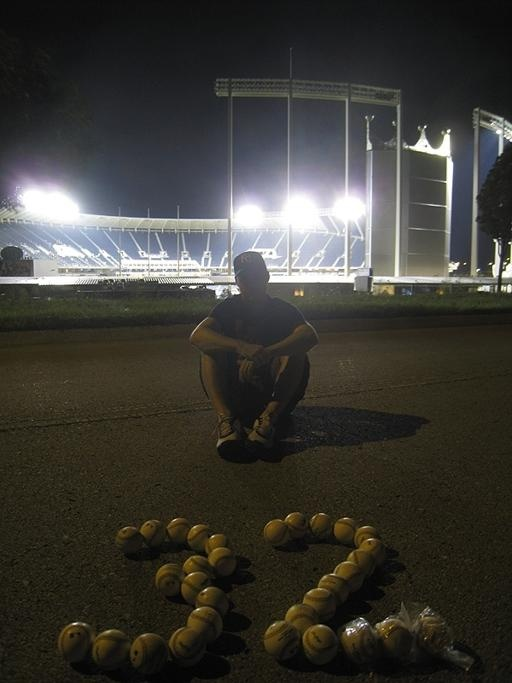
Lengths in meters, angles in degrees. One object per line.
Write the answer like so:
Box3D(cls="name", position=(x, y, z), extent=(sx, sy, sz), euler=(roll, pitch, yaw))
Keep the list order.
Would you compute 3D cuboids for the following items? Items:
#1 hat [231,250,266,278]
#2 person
Box3D(cls="hat", position=(-0.050, -0.551, 3.902), extent=(0.240, 0.182, 0.246), euler=(0, 6, 0))
Box3D(cls="person", position=(-0.044, 0.147, 3.907), extent=(0.666, 1.454, 0.812), euler=(0, 1, -13))
